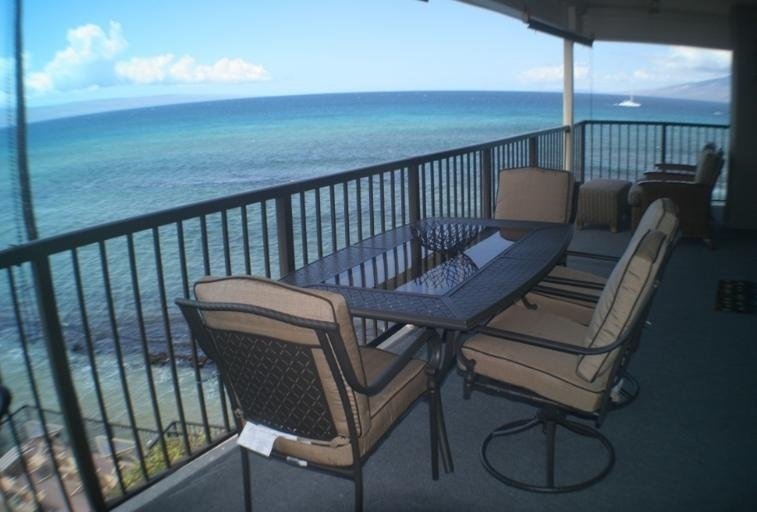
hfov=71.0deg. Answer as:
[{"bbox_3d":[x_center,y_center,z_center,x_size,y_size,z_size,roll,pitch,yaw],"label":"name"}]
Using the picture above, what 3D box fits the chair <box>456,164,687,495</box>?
[{"bbox_3d":[1.198,0.484,3.348,1.108,1.460,1.862,9,26,24],"label":"chair"}]
